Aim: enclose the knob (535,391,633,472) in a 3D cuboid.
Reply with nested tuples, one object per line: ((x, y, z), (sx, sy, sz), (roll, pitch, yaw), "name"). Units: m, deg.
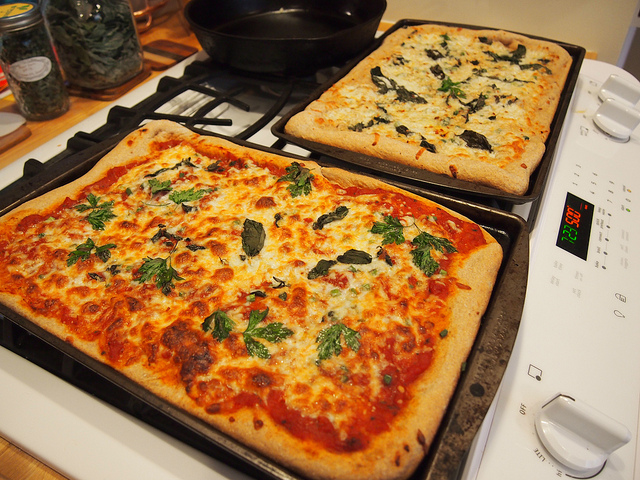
((0.812, 0.604, 1.677), (0.201, 0.137, 0.253), (-31, 58, -26), "knob")

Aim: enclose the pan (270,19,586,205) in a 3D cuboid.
((0.789, -0.734, 2.817), (1.094, 0.159, 1.526), (23, 49, 23), "pan")
